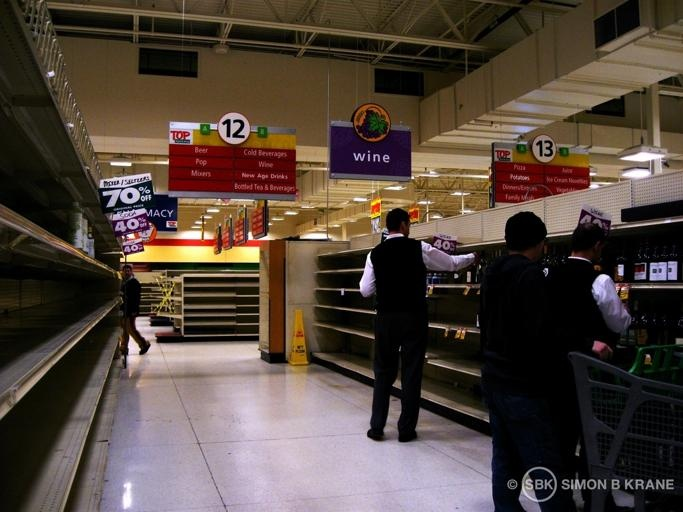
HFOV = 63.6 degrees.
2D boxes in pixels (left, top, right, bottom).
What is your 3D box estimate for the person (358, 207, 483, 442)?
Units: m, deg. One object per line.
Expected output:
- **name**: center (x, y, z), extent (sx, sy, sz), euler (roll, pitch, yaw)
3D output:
- **person**: center (0.634, 0.661, 5.254), extent (0.881, 2.230, 0.403), euler (0, -2, 2)
